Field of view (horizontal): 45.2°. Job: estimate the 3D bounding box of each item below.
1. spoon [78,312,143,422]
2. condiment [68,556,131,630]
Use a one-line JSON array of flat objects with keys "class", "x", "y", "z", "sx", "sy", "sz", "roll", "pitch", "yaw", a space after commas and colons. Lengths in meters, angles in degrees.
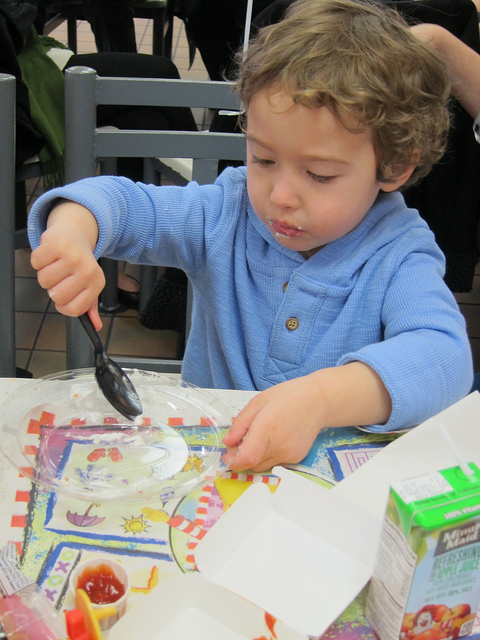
[{"class": "spoon", "x": -0.182, "y": 0.042, "z": 0.725, "sx": 0.045, "sy": 0.026, "sz": 0.182, "roll": 4, "pitch": 44, "yaw": -52}, {"class": "condiment", "x": -0.115, "y": 0.223, "z": 0.483, "sx": 0.058, "sy": 0.036, "sz": 0.044, "roll": 8, "pitch": 32, "yaw": -21}]
